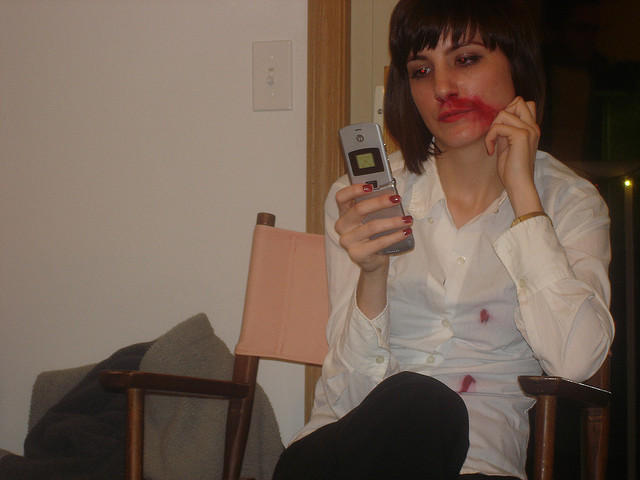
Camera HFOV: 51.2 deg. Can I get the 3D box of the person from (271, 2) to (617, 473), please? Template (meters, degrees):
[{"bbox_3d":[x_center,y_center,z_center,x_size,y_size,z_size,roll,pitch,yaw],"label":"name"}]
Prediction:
[{"bbox_3d":[0.335,-0.031,1.661,0.823,1.171,0.662,-1,3,-4],"label":"person"}]
